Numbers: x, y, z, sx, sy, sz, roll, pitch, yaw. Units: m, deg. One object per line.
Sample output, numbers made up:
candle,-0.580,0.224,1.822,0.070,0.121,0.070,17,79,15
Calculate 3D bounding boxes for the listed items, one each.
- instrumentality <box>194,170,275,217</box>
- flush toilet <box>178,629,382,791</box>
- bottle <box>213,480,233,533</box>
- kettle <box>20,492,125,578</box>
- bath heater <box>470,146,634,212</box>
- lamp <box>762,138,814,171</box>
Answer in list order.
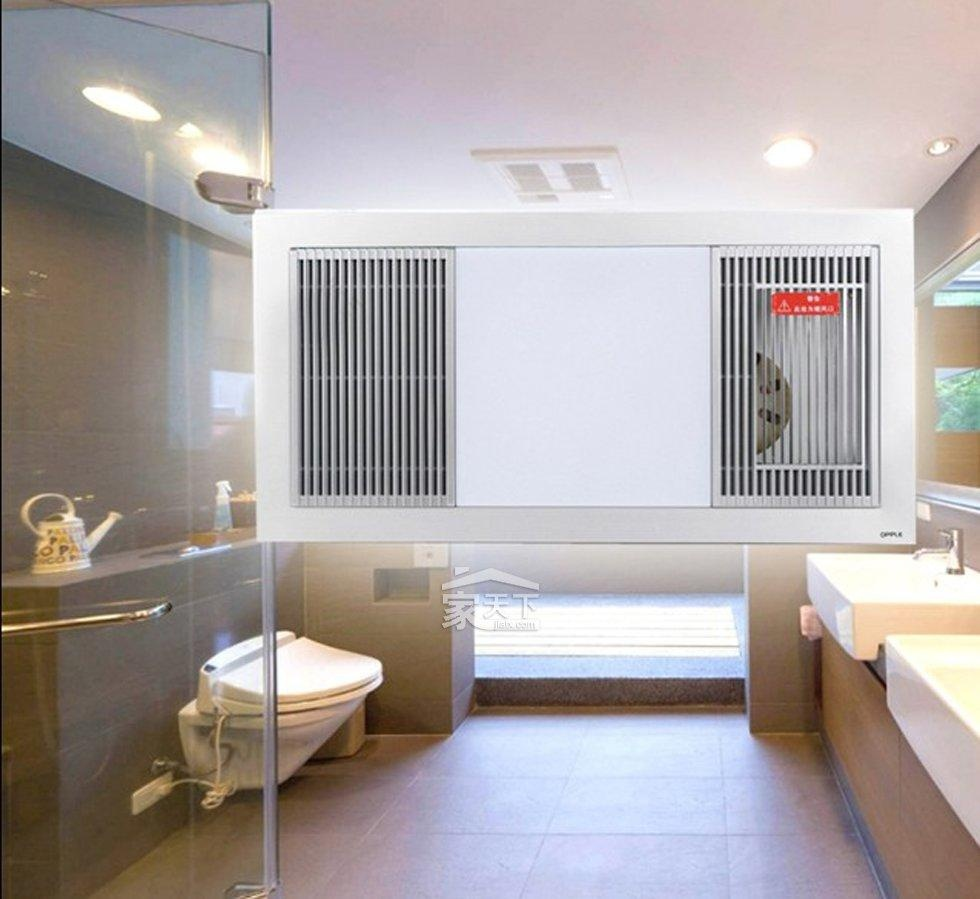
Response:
instrumentality,-0.500,-0.499,1.549,0.121,0.058,0.096,0,3,-18
flush toilet,-0.456,0.609,1.813,0.366,0.298,0.413,3,1,11
bottle,-0.535,0.114,1.589,0.033,0.104,0.028,-3,2,-30
kettle,-0.760,0.152,1.448,0.090,0.154,0.167,-15,-12,29
bath heater,0.225,-0.952,2.756,0.421,0.083,0.417,4,3,11
lamp,0.969,-0.946,2.568,0.151,0.041,0.216,-1,3,19
